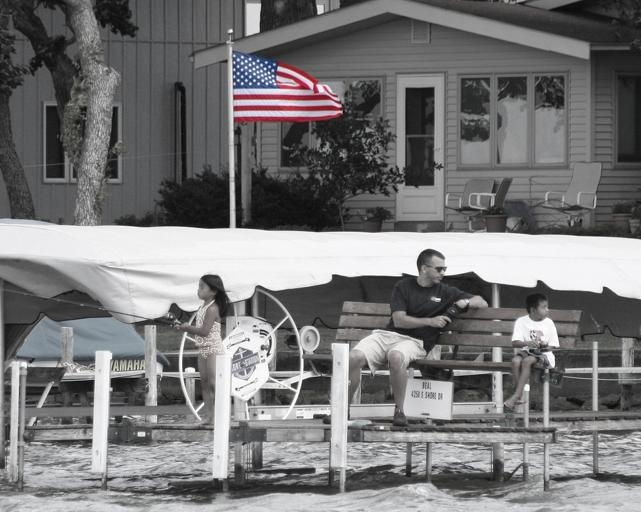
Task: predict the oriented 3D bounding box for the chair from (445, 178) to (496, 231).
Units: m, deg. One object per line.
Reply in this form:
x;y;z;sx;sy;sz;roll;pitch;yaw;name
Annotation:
2.709;-0.847;35.639;0.921;1.206;0.980;1;-1;-42;chair

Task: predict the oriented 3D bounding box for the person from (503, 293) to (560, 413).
2.629;1.240;25.223;0.685;1.403;0.636;0;2;-2;person

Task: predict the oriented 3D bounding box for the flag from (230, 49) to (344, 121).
-0.498;-2.501;30.180;1.566;1.057;0.234;-1;-5;-7;flag

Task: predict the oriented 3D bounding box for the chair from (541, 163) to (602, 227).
4.373;-1.047;35.261;1.039;1.120;1.221;0;1;-13;chair
